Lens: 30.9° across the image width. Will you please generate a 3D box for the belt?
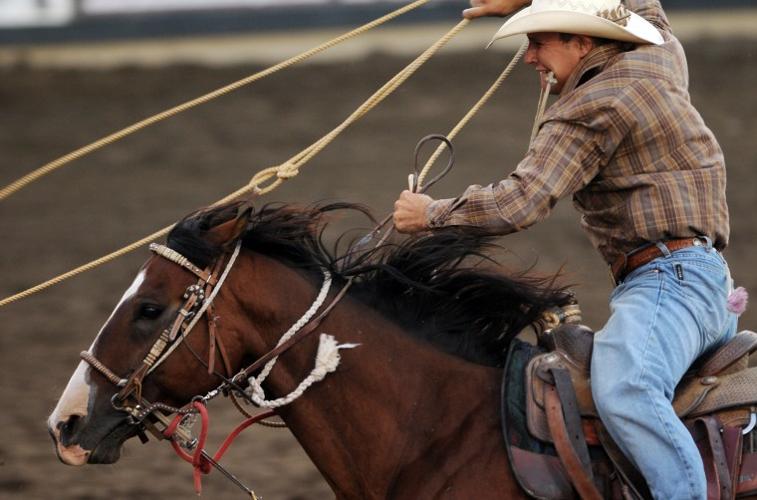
[{"bbox_3d":[1.798,0.039,8.953,0.414,0.091,0.339,-16,-12,-2],"label":"belt"}]
